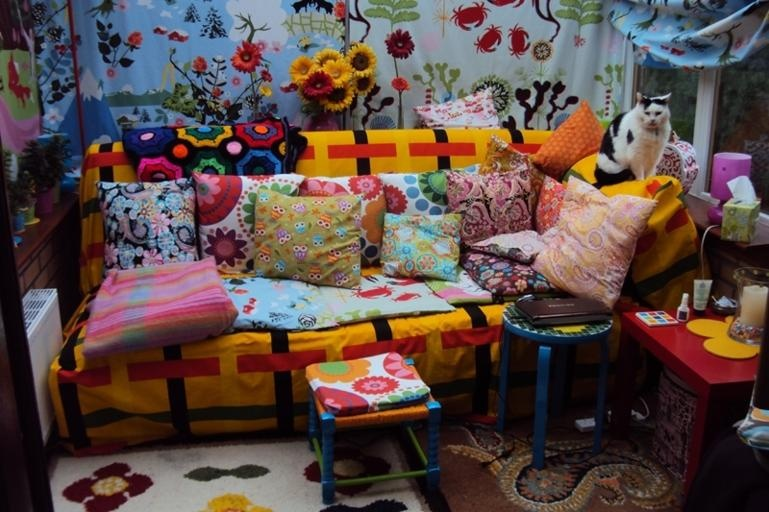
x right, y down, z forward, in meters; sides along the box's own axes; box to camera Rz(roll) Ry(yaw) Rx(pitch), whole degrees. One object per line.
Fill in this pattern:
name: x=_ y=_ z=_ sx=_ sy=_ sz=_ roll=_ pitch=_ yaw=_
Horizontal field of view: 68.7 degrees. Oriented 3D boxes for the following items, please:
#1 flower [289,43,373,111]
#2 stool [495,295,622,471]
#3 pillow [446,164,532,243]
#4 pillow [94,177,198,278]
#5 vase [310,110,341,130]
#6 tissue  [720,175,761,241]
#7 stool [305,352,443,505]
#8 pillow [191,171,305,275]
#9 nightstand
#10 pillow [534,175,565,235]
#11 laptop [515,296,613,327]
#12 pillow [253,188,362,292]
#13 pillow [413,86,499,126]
flower: x=-0.310 y=-1.098 z=3.467 sx=0.521 sy=0.400 sz=0.204 roll=-5 pitch=18 yaw=-7
stool: x=0.846 y=0.547 z=2.750 sx=0.592 sy=0.689 sz=0.498 roll=-8 pitch=18 yaw=-16
pillow: x=0.600 y=-0.279 z=3.230 sx=0.434 sy=0.339 sz=0.155 roll=-6 pitch=25 yaw=-6
pillow: x=-1.274 y=-0.141 z=3.047 sx=0.485 sy=0.410 sz=0.242 roll=-7 pitch=25 yaw=-10
vase: x=-0.381 y=-0.860 z=3.605 sx=0.141 sy=0.133 sz=0.143 roll=15 pitch=24 yaw=40
tissue : x=1.727 y=-0.229 z=2.741 sx=0.148 sy=0.309 sz=0.181 roll=8 pitch=21 yaw=30
stool: x=-0.076 y=0.683 z=2.604 sx=0.589 sy=0.503 sz=0.597 roll=-3 pitch=22 yaw=-11
pillow: x=-0.759 y=-0.161 z=3.107 sx=0.586 sy=0.564 sz=0.210 roll=-1 pitch=3 yaw=-11
nightstand: x=1.293 y=0.620 z=2.482 sx=0.336 sy=0.607 sz=0.630 roll=-6 pitch=18 yaw=-10
pillow: x=0.936 y=-0.286 z=3.213 sx=0.086 sy=0.266 sz=0.284 roll=7 pitch=-5 yaw=3
laptop: x=0.844 y=0.257 z=2.647 sx=0.422 sy=0.075 sz=0.205 roll=-3 pitch=17 yaw=0
pillow: x=-0.416 y=-0.065 z=3.034 sx=0.555 sy=0.466 sz=0.215 roll=2 pitch=-2 yaw=3
pillow: x=0.501 y=-0.930 z=3.709 sx=0.337 sy=0.101 sz=0.331 roll=14 pitch=63 yaw=14
